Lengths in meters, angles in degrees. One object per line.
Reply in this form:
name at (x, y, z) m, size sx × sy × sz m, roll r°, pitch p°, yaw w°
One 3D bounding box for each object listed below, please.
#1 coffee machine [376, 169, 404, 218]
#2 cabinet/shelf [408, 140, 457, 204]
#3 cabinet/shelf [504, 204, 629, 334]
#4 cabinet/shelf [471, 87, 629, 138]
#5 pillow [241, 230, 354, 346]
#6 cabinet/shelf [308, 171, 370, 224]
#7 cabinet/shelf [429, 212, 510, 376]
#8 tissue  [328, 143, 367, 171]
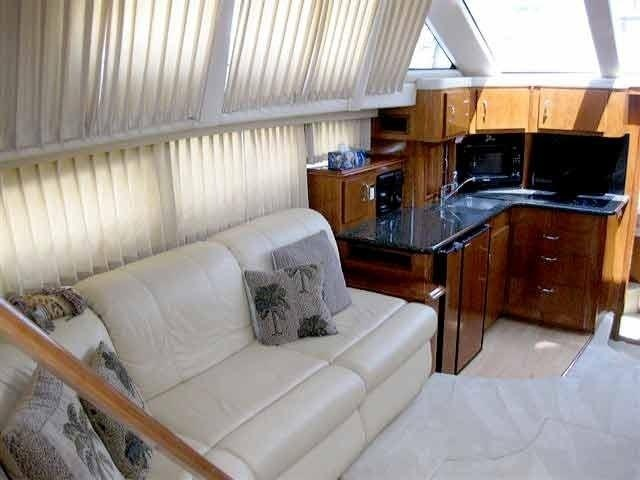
coffee machine at (0.528, -0.365, 3.673) m, size 0.141 × 0.285 × 0.291 m, roll 8°, pitch 22°, yaw 27°
cabinet/shelf at (0.907, -0.559, 3.922) m, size 0.155 × 0.454 × 0.461 m, roll 9°, pitch 13°, yaw 33°
cabinet/shelf at (2.017, 0.152, 4.317) m, size 0.861 × 1.273 × 0.943 m, roll 7°, pitch 13°, yaw 37°
cabinet/shelf at (1.847, -1.065, 3.947) m, size 1.150 × 0.443 × 0.239 m, roll 1°, pitch 13°, yaw 16°
pillow at (-0.132, 0.283, 2.534) m, size 0.568 × 0.516 × 0.171 m, roll -12°, pitch -8°, yaw -42°
cabinet/shelf at (0.127, -0.328, 3.441) m, size 0.324 × 0.468 × 0.467 m, roll 9°, pitch 23°, yaw 29°
cabinet/shelf at (1.034, 0.377, 3.362) m, size 0.431 × 0.844 × 0.868 m, roll 8°, pitch 22°, yaw 31°
tissue  at (0.227, -0.574, 3.400) m, size 0.341 × 0.126 × 0.168 m, roll -12°, pitch 15°, yaw -35°
